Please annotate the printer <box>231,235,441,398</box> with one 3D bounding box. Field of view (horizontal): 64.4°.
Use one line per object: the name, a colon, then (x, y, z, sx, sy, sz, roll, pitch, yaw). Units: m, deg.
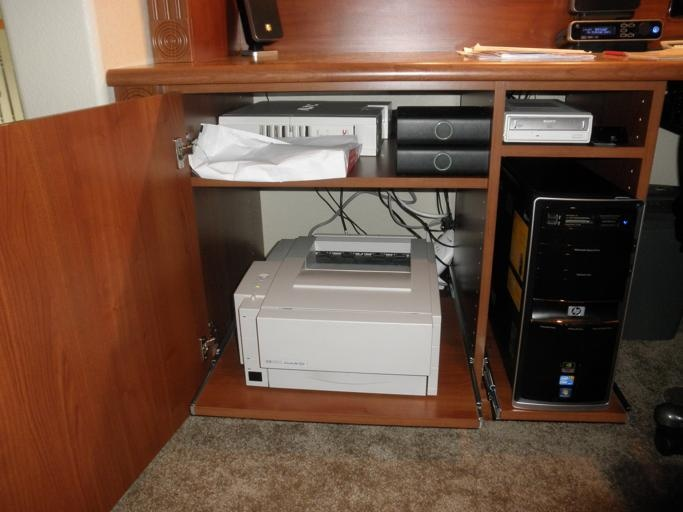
printer: (0.002, 0.163, 1.552, 0.486, 0.219, 0.465, 1, 31, 4)
